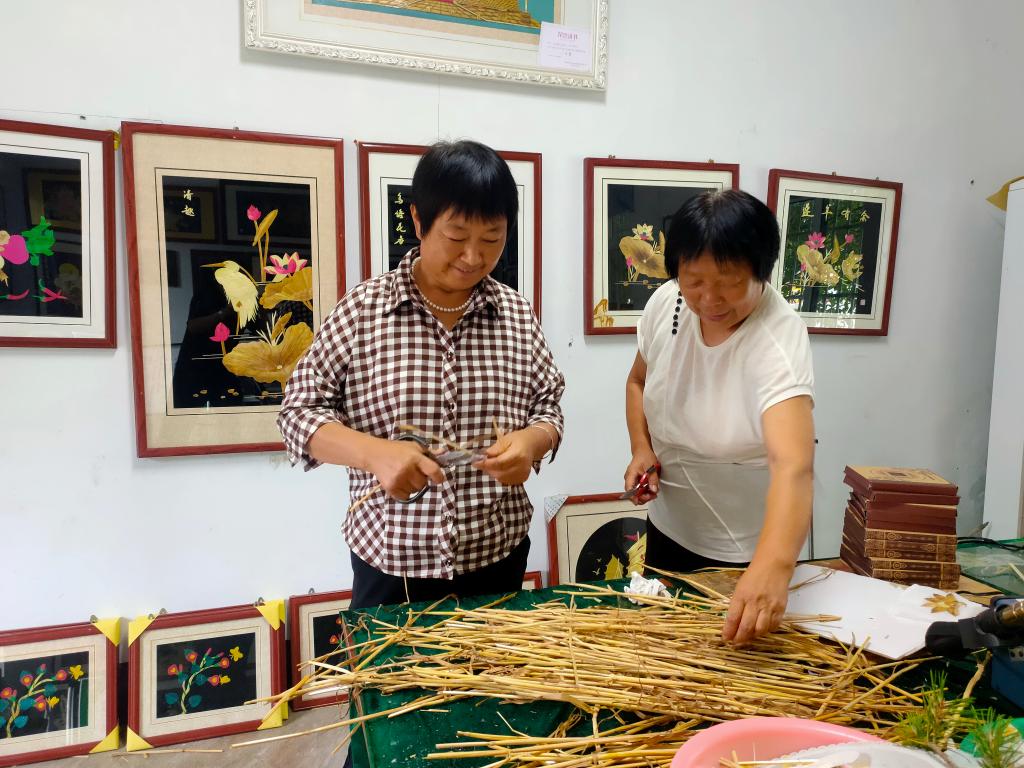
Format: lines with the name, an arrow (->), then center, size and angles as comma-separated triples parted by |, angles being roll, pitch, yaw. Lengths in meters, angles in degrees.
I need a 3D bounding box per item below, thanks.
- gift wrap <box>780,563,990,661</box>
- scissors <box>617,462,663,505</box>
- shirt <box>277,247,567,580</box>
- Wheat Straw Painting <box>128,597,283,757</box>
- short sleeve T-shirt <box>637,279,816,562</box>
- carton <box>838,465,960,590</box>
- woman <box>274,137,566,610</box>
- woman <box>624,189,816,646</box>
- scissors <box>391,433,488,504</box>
gift wrap -> 1.029, 0.653, 2.476 | 0.508, 0.122, 0.349 | 4, 9, 30
scissors -> 0.426, 0.340, 2.857 | 0.155, 0.064, 0.086 | -37, 40, 9
shirt -> -0.227, 0.110, 2.719 | 0.917, 0.907, 0.493 | -1, 15, -16
Wheat Straw Painting -> -1.152, 1.113, 3.256 | 0.579, 0.583, 0.080 | 0, -7, -22
short sleeve T-shirt -> 0.654, 0.119, 2.712 | 0.363, 0.760, 0.680 | -15, 25, -22
carton -> 1.237, 0.423, 2.729 | 0.272, 0.261, 0.219 | 0, 12, 11
woman -> -0.263, -0.013, 2.622 | 0.811, 1.394, 0.477 | 0, 8, 4
woman -> 0.627, 0.052, 2.688 | 0.489, 1.260, 0.904 | -2, 8, -10
scissors -> -0.205, 0.251, 2.579 | 0.277, 0.073, 0.154 | -14, 32, -23
